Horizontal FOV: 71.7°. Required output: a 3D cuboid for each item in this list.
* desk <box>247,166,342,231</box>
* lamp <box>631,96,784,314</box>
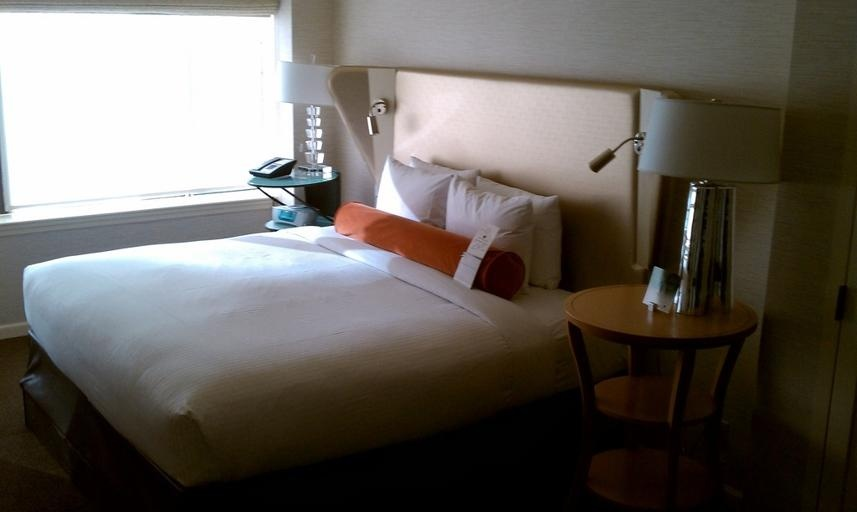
[{"bbox_3d":[-1.128,-0.445,5.159,0.730,0.405,0.769,-17,21,-42],"label":"desk"},{"bbox_3d":[1.302,-0.233,2.822,0.586,0.999,0.328,8,25,24],"label":"lamp"}]
